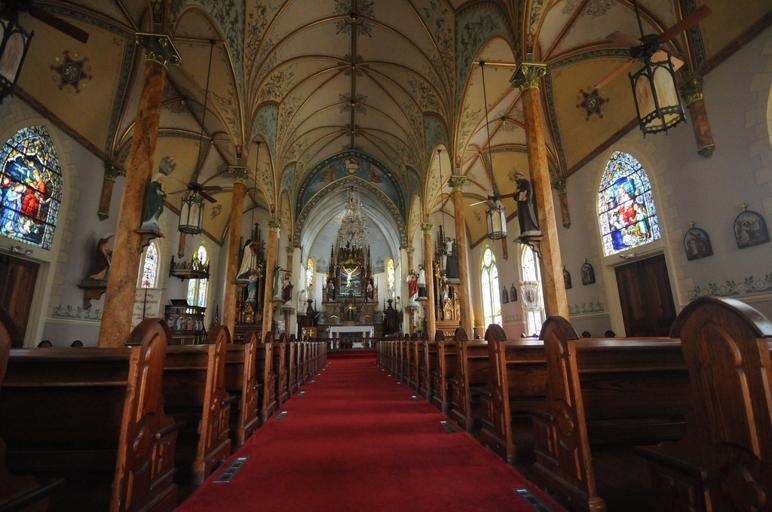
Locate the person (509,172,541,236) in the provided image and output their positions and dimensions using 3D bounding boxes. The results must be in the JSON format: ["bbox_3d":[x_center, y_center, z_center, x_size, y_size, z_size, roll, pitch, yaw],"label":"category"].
[{"bbox_3d":[3.082,-1.154,9.391,0.500,1.262,1.504,-2,1,16],"label":"person"}]

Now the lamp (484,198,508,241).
[{"bbox_3d":[3.009,-1.034,11.562,0.449,0.998,2.176,-2,1,15],"label":"lamp"}]

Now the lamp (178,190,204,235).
[{"bbox_3d":[-5.286,-1.208,11.545,0.591,1.231,0.644,-2,1,-28],"label":"lamp"}]

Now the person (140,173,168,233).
[{"bbox_3d":[-4.347,-0.921,7.987,0.356,1.226,0.528,-2,0,-9],"label":"person"}]

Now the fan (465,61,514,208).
[{"bbox_3d":[3.594,-4.261,14.620,0.484,5.008,2.768,-2,17,38],"label":"fan"}]

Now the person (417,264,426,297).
[{"bbox_3d":[1.537,1.130,18.504,0.341,1.326,1.408,-2,1,5],"label":"person"}]
